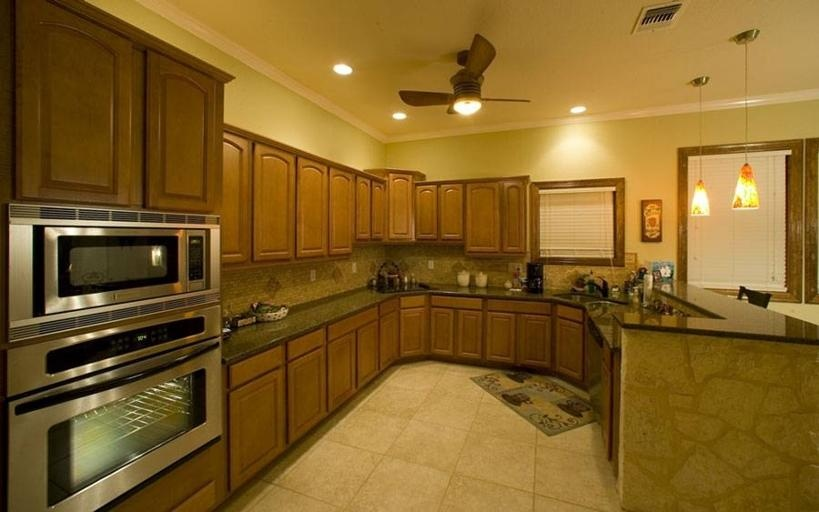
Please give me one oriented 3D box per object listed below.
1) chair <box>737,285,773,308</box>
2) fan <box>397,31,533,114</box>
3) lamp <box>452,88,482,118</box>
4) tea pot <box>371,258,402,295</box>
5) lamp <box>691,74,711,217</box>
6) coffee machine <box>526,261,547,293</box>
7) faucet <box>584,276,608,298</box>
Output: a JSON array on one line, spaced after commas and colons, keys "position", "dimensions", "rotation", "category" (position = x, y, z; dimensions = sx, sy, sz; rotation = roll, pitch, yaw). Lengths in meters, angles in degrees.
[{"position": [3.505, 0.408, 5.264], "dimensions": [0.336, 0.196, 0.330], "rotation": [0, 3, -20], "category": "chair"}, {"position": [0.460, -1.589, 4.812], "dimensions": [0.873, 0.321, 0.837], "rotation": [0, -7, -9], "category": "fan"}, {"position": [0.530, -1.433, 4.897], "dimensions": [0.261, 0.143, 0.272], "rotation": [-1, 4, -1], "category": "lamp"}, {"position": [-0.265, 0.251, 6.764], "dimensions": [0.445, 0.419, 0.322], "rotation": [1, -7, 10], "category": "tea pot"}, {"position": [3.138, -1.135, 5.653], "dimensions": [0.201, 1.427, 0.797], "rotation": [0, 4, 30], "category": "lamp"}, {"position": [1.515, 0.258, 6.308], "dimensions": [0.200, 0.340, 0.224], "rotation": [-1, 4, 6], "category": "coffee machine"}, {"position": [2.179, 0.370, 6.109], "dimensions": [0.214, 0.203, 0.092], "rotation": [-3, -9, 32], "category": "faucet"}]
